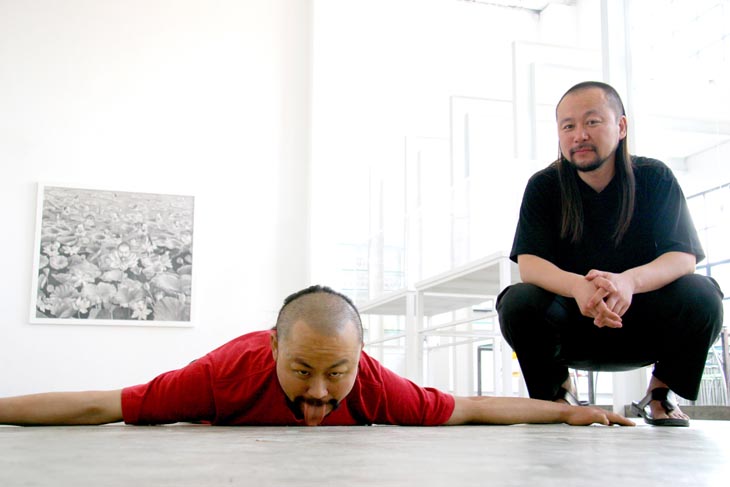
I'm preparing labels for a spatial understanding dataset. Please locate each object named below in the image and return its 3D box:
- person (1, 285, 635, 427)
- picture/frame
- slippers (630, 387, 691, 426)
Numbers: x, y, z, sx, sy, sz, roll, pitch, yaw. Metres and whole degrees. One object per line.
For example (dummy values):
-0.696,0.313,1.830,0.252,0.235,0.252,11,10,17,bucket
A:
-0.168,0.350,1.907,1.696,0.428,0.511,0,-6,4,person
-2.424,0.159,5.802,1.431,1.252,0.057,3,-15,-12,picture/frame
1.005,0.559,2.134,0.076,0.088,0.216,2,-11,-10,slippers
